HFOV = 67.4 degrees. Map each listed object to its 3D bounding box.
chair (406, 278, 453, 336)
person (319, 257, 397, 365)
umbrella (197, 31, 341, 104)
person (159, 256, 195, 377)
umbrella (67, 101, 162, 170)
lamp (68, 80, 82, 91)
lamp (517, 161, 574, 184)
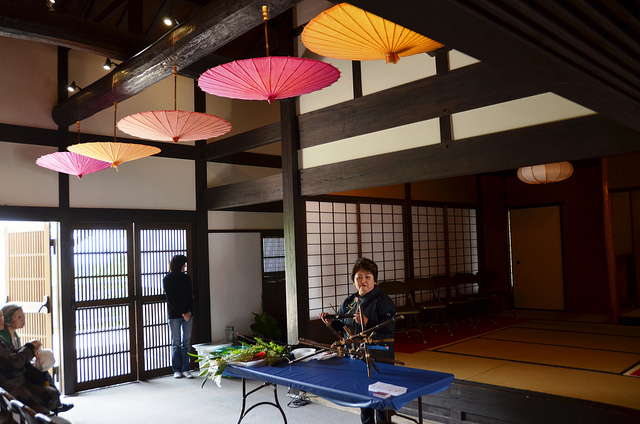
[{"bbox_3d":[1.889,1.661,8.477,0.734,0.957,0.838,-4,-4,13],"label":"chair"},{"bbox_3d":[0.455,1.242,4.994,0.671,1.434,0.740,-9,-16,42],"label":"person"},{"bbox_3d":[-0.442,-1.401,4.451,0.869,0.637,1.016,-7,-3,-13],"label":"umbrella"},{"bbox_3d":[-2.231,1.639,7.679,0.493,1.821,0.230,-11,12,-30],"label":"person"},{"bbox_3d":[-2.495,-0.997,5.869,0.896,0.823,0.922,-9,-8,43],"label":"umbrella"},{"bbox_3d":[-3.741,-1.922,7.331,0.153,0.146,0.174,1,11,33],"label":"lamp"},{"bbox_3d":[3.732,-0.636,7.955,0.803,0.347,0.411,-1,10,22],"label":"lamp"}]
